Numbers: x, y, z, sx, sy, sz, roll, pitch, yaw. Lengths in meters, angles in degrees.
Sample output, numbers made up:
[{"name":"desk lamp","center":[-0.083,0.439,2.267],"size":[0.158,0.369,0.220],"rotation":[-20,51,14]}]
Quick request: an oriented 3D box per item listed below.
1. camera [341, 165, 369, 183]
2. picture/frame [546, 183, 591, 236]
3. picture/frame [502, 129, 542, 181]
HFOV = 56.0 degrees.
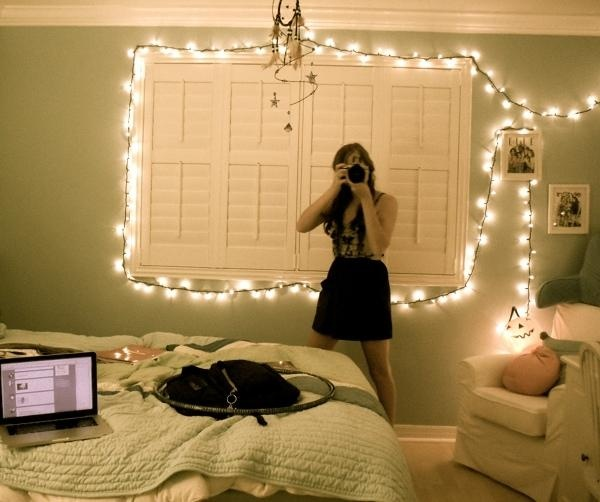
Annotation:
[{"name":"camera","center":[0.292,-0.383,2.808],"size":[0.104,0.097,0.081],"rotation":[1,3,4]},{"name":"picture/frame","center":[1.625,-0.250,3.378],"size":[0.293,0.402,0.017],"rotation":[1,-1,1]},{"name":"picture/frame","center":[1.346,-0.575,3.384],"size":[0.290,0.370,0.025],"rotation":[0,0,0]}]
